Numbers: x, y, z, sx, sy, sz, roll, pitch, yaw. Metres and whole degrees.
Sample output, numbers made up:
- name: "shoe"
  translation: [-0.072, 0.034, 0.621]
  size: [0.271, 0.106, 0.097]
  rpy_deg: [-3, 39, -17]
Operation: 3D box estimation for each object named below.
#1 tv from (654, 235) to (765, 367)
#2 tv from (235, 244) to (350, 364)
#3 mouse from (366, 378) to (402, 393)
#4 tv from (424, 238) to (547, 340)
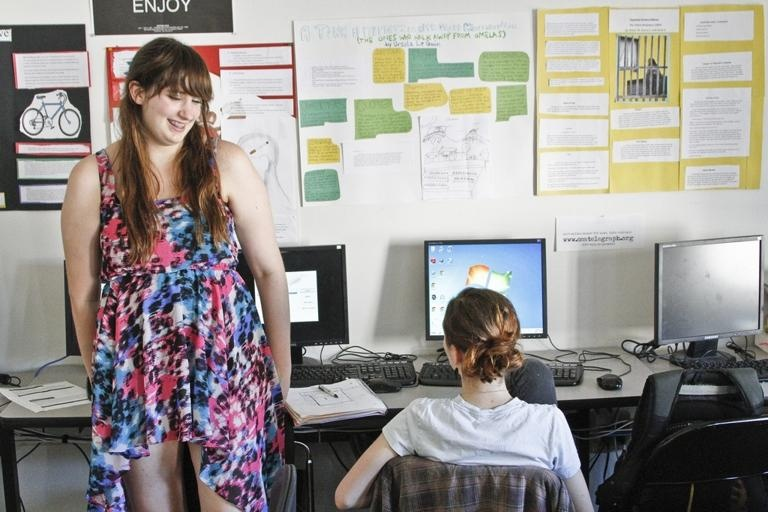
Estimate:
- name: "tv"
  translation: [1.570, 0.209, 3.430]
  size: [0.626, 0.624, 0.222]
  rpy_deg: [-3, 1, -14]
- name: "tv"
  translation: [-0.372, 0.180, 2.940]
  size: [0.579, 0.614, 0.197]
  rpy_deg: [-2, 0, -6]
- name: "mouse"
  translation: [0.001, 0.584, 3.181]
  size: [0.126, 0.039, 0.064]
  rpy_deg: [10, 8, -16]
- name: "tv"
  translation: [0.501, 0.163, 3.492]
  size: [0.620, 0.508, 0.047]
  rpy_deg: [-1, 0, -9]
